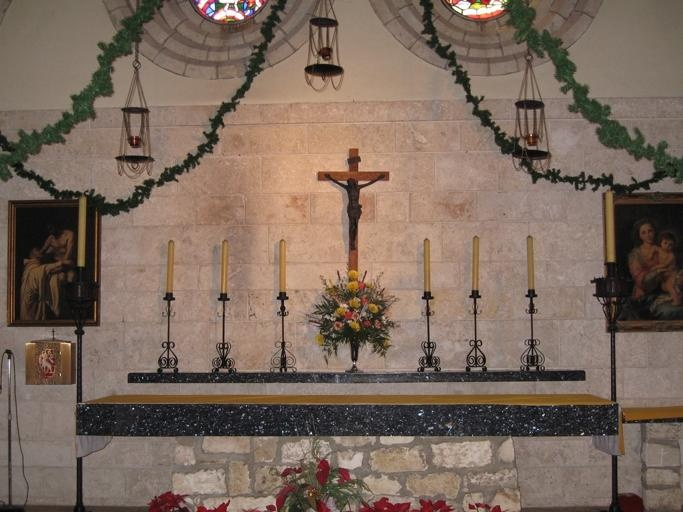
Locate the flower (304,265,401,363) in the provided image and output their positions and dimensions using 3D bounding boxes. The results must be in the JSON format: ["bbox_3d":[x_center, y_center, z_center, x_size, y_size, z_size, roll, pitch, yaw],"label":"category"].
[{"bbox_3d":[0.156,0.666,14.938,0.535,0.692,0.622,-4,-9,35],"label":"flower"}]

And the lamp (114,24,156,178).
[{"bbox_3d":[-1.943,-1.322,15.322,0.366,0.977,1.014,-4,42,-7],"label":"lamp"}]
